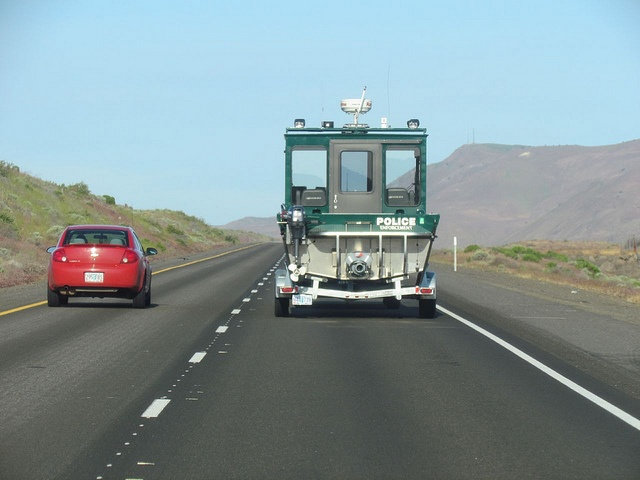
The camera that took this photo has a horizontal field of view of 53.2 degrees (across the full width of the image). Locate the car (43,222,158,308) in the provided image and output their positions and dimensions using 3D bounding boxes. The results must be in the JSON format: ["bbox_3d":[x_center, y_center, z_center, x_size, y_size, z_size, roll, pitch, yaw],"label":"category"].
[{"bbox_3d":[-5.438,0.590,16.690,1.585,1.340,2.792,0,1,-4],"label":"car"}]

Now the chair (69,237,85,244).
[{"bbox_3d":[-6.085,0.033,15.963,0.207,0.199,0.238,0,3,3],"label":"chair"}]
